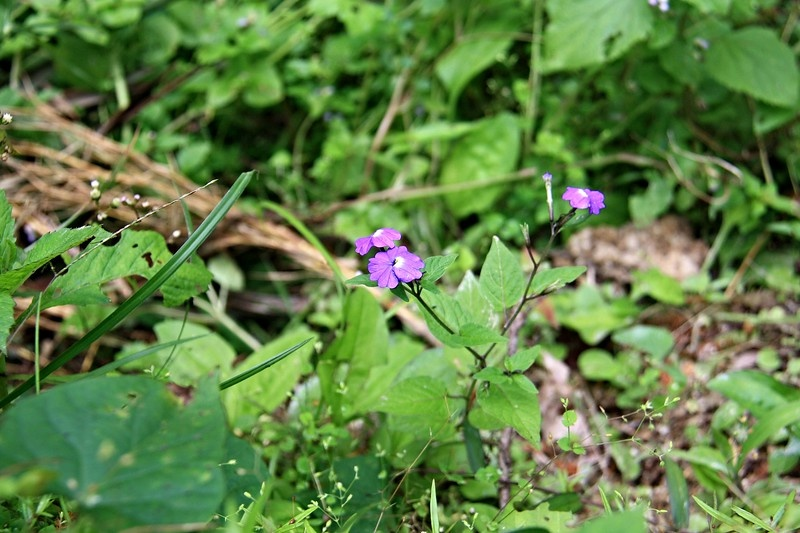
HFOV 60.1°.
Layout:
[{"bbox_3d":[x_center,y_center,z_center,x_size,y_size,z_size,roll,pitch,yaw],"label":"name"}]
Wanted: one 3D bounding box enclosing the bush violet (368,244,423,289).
[{"bbox_3d":[-0.013,0.001,1.951,0.117,0.058,0.135,-15,74,-6],"label":"bush violet"}]
